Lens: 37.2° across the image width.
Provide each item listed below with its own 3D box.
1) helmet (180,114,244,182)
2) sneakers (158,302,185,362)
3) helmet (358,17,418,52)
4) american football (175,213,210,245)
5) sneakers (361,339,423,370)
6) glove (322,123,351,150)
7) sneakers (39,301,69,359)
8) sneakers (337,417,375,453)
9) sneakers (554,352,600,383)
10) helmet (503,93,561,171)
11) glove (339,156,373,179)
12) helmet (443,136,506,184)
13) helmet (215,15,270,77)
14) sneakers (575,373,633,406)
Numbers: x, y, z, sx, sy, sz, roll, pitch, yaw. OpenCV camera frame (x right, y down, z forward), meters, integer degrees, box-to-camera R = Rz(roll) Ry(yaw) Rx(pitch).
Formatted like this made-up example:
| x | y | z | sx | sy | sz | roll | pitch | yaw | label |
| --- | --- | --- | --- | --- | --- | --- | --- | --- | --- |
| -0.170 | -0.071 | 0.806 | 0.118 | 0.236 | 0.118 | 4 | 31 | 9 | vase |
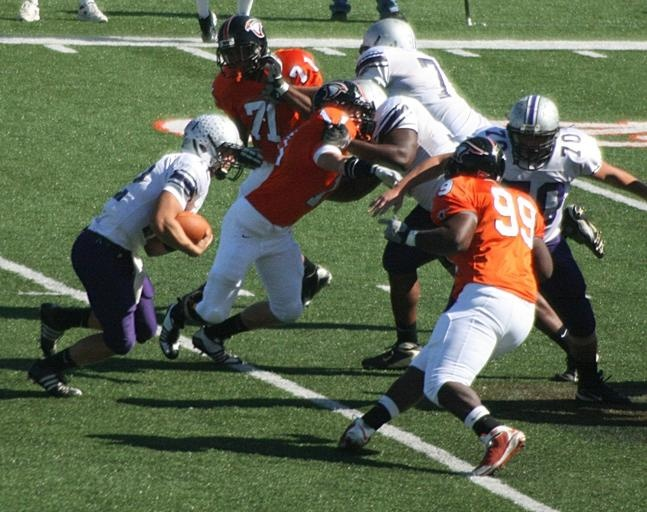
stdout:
| x | y | z | sx | sy | sz | roll | pitch | yaw | label |
| --- | --- | --- | --- | --- | --- | --- | --- | --- | --- |
| -0.668 | -0.698 | 5.982 | 0.409 | 0.355 | 0.320 | 15 | 17 | 14 | helmet |
| -0.976 | 0.468 | 6.199 | 0.146 | 0.372 | 0.184 | -2 | 10 | -34 | sneakers |
| 0.475 | -1.577 | 6.802 | 0.358 | 0.260 | 0.244 | 2 | 29 | 6 | helmet |
| -0.754 | -0.201 | 5.712 | 0.206 | 0.155 | 0.146 | 30 | 32 | -19 | american football |
| 0.462 | 0.636 | 6.295 | 0.442 | 0.166 | 0.152 | -3 | 4 | 2 | sneakers |
| 0.087 | -0.712 | 5.685 | 0.170 | 0.123 | 0.122 | 4 | -6 | 5 | glove |
| -1.695 | 0.439 | 6.087 | 0.187 | 0.371 | 0.131 | 4 | 22 | 1 | sneakers |
| 0.179 | 0.970 | 5.300 | 0.130 | 0.219 | 0.148 | 49 | 10 | -8 | sneakers |
| 1.627 | 0.724 | 6.189 | 0.382 | 0.226 | 0.136 | 2 | -6 | 5 | sneakers |
| 1.256 | -0.759 | 5.764 | 0.345 | 0.369 | 0.406 | 4 | 27 | 14 | helmet |
| 0.193 | -0.508 | 5.508 | 0.149 | 0.065 | 0.106 | 2 | -8 | 19 | glove |
| 0.859 | -0.555 | 5.480 | 0.292 | 0.252 | 0.224 | 28 | 17 | 21 | helmet |
| -0.584 | -1.510 | 6.793 | 0.362 | 0.383 | 0.466 | -3 | 30 | 16 | helmet |
| 1.678 | 0.813 | 5.945 | 0.398 | 0.203 | 0.143 | 2 | 6 | 5 | sneakers |
